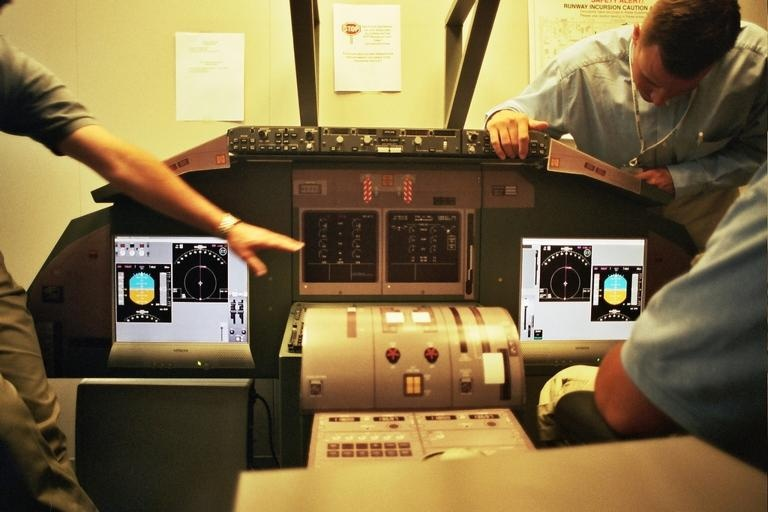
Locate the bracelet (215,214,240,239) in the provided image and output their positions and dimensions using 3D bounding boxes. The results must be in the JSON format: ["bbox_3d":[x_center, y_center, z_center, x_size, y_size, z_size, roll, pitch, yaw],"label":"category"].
[{"bbox_3d":[-0.586,-0.125,2.400,0.068,0.092,0.086,-2,43,-17],"label":"bracelet"}]
